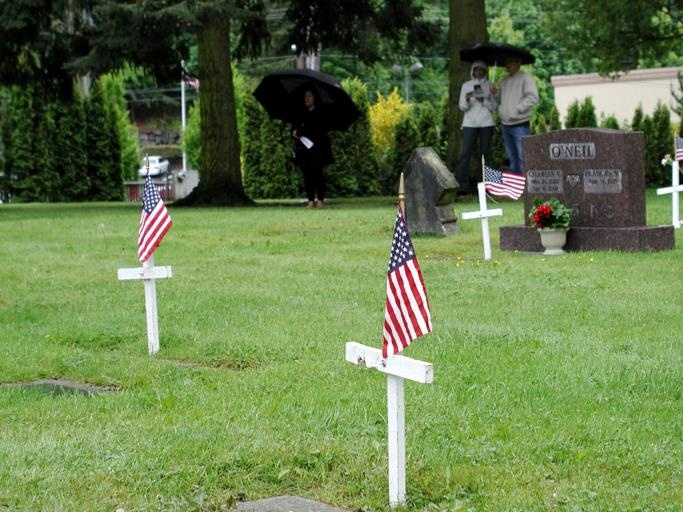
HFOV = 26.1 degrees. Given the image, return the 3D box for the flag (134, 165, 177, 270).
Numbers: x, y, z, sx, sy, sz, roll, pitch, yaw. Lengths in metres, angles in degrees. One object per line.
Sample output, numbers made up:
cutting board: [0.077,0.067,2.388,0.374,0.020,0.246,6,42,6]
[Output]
flag: [-2.915,-0.519,22.913,0.484,1.310,0.524,-2,5,-9]

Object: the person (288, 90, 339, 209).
person: [-0.745,-2.456,34.621,0.739,2.756,1.029,2,6,31]

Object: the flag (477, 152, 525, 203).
flag: [3.073,-1.379,28.037,0.883,0.634,0.562,-2,6,-9]
